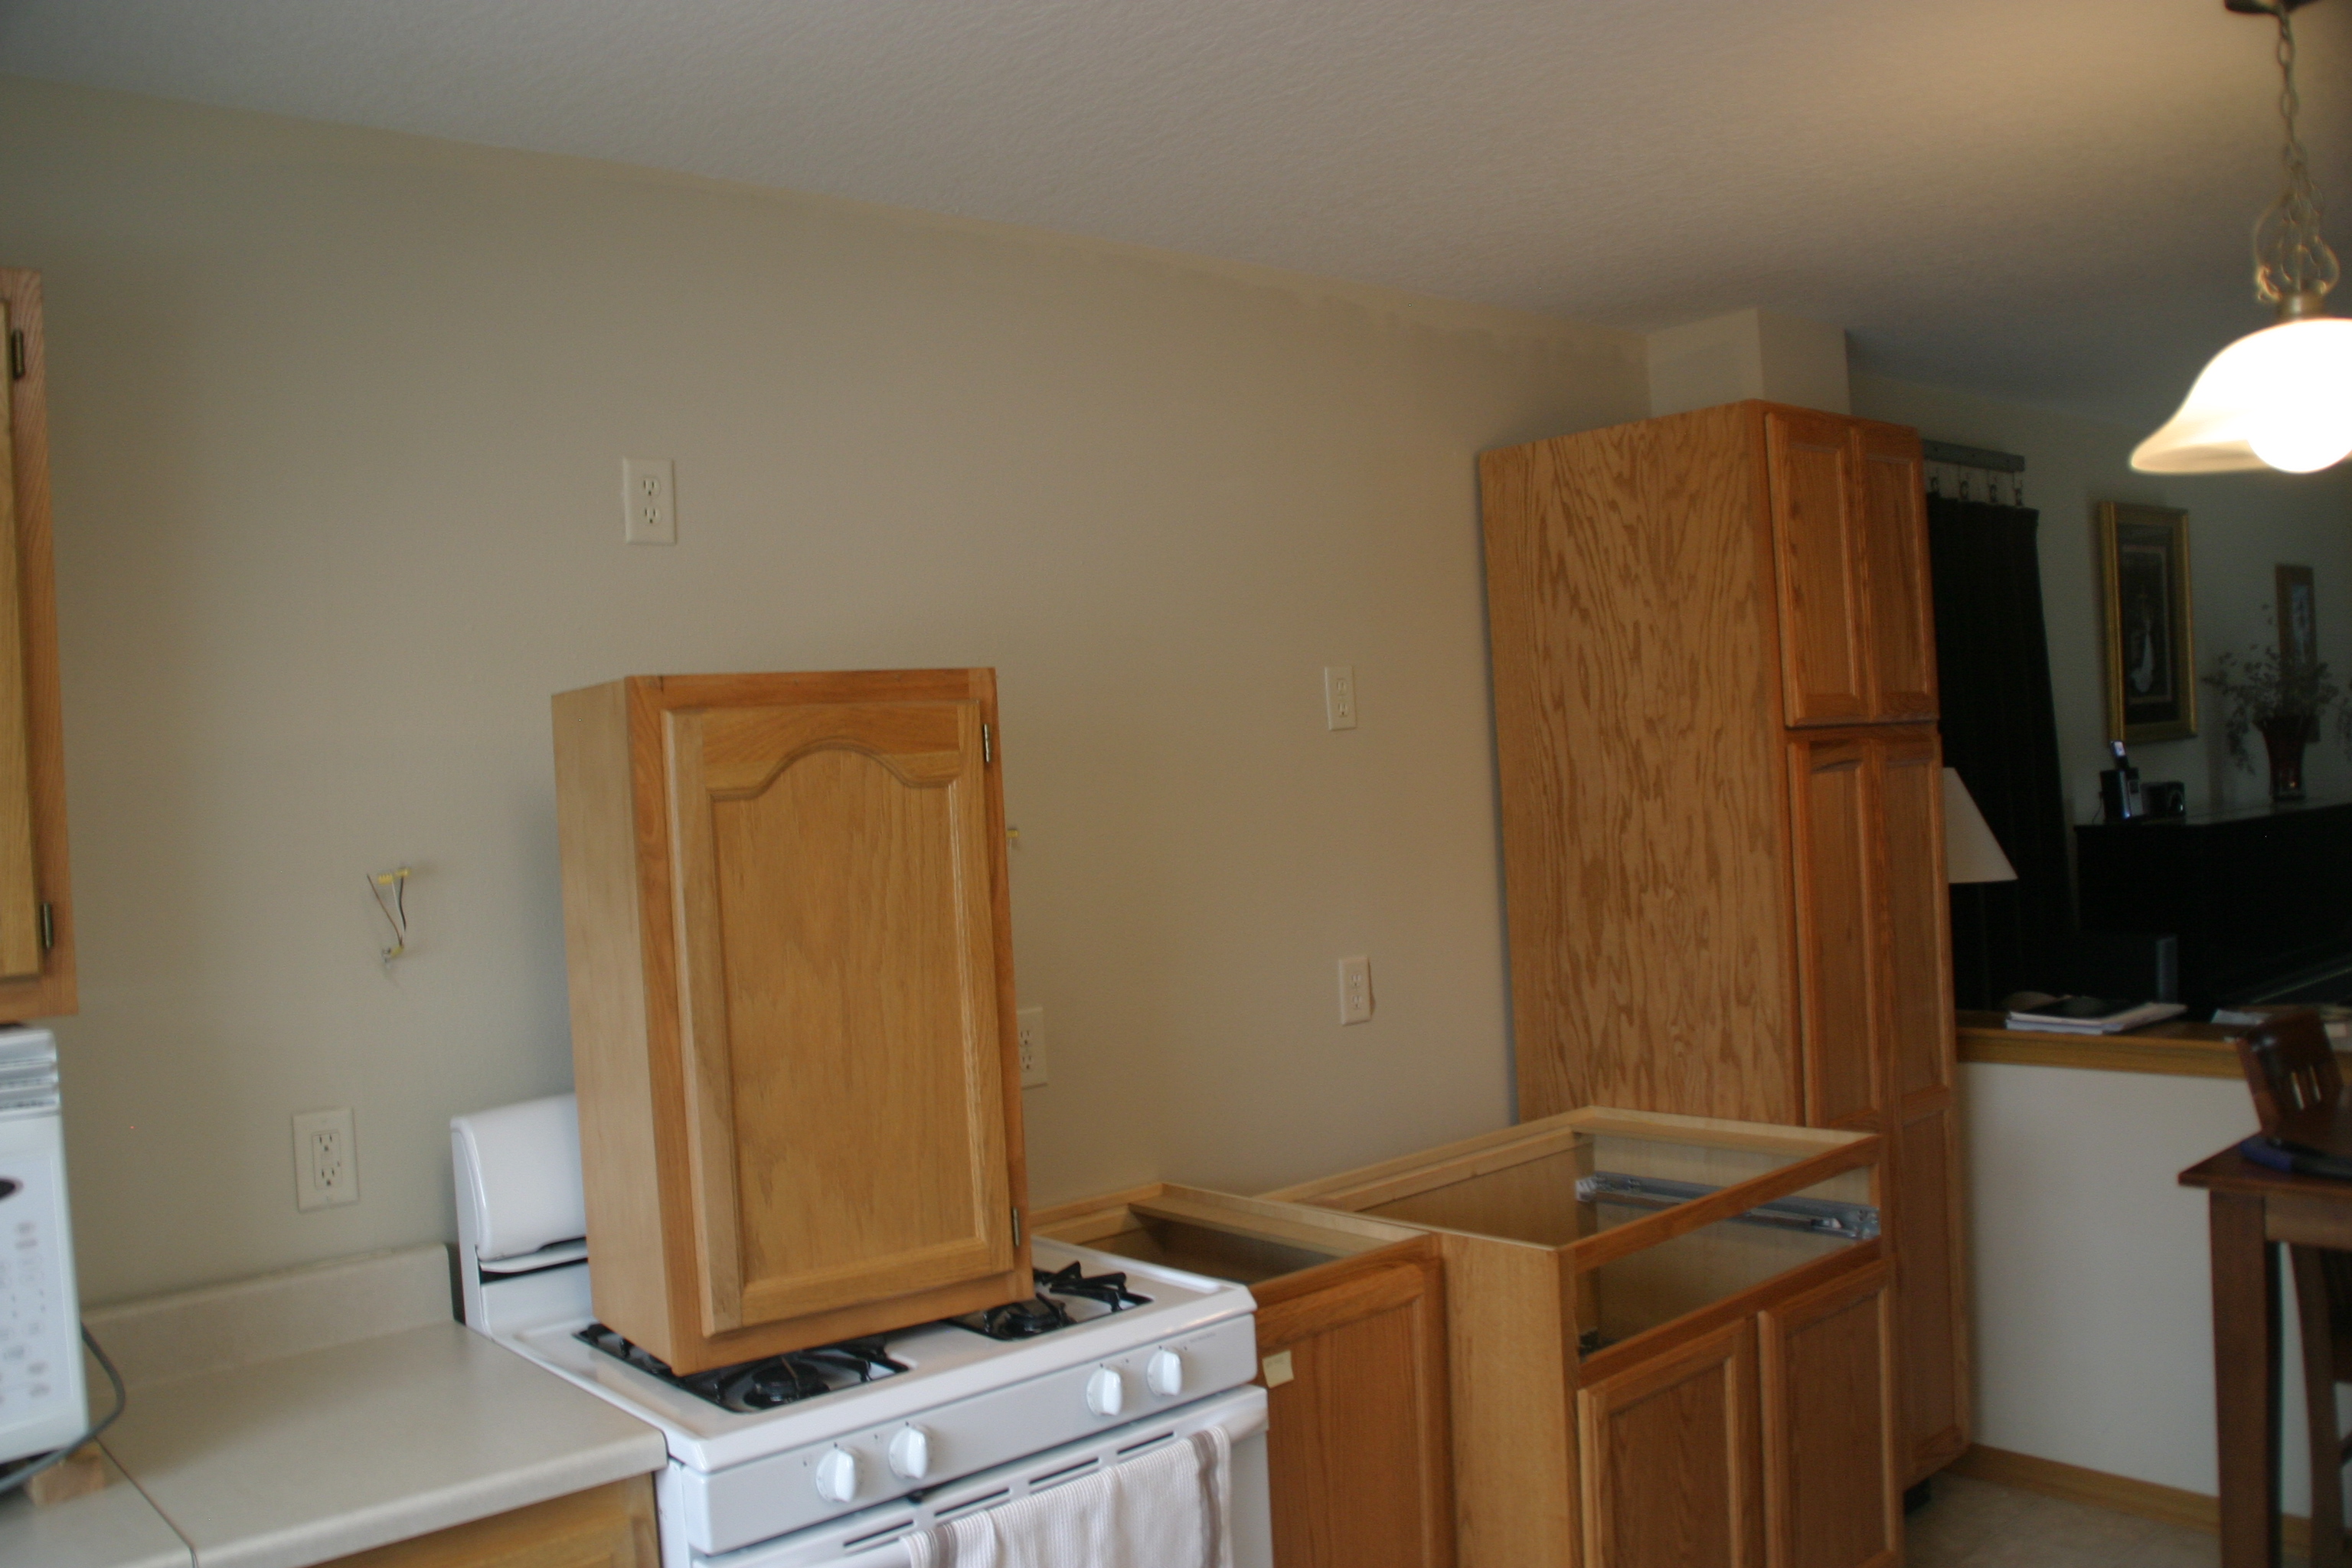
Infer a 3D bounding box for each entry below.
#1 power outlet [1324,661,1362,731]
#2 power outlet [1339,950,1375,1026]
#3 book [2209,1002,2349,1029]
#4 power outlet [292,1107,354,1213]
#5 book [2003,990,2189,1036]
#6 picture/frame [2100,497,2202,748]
[{"bbox_3d":[0.377,-0.196,4.332,0.022,0.144,0.105,-5,-1,43],"label":"power outlet"},{"bbox_3d":[0.410,0.471,4.323,0.180,0.190,0.032,1,0,-44],"label":"power outlet"},{"bbox_3d":[2.726,0.570,4.642,0.155,0.036,0.145,-3,4,14],"label":"book"},{"bbox_3d":[-1.479,0.646,3.249,0.096,0.142,0.015,-4,-1,-27],"label":"power outlet"},{"bbox_3d":[2.319,0.576,4.749,0.398,0.105,0.390,-5,-2,29],"label":"book"},{"bbox_3d":[3.392,-0.563,6.559,0.128,1.135,0.915,-3,0,43],"label":"picture/frame"}]
